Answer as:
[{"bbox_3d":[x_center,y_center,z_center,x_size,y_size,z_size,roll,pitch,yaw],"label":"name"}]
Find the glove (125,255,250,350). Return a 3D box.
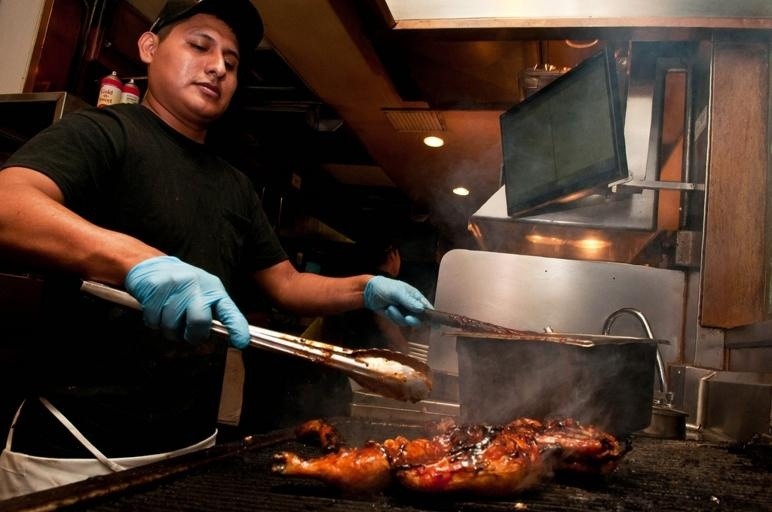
[{"bbox_3d":[-1.055,0.248,3.259,0.639,0.470,0.283,-1,6,-13],"label":"glove"}]

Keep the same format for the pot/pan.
[{"bbox_3d":[0.948,0.755,3.631,0.925,0.429,0.714,-5,-20,24],"label":"pot/pan"}]

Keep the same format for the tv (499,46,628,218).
[{"bbox_3d":[1.281,-0.855,4.553,0.149,1.146,1.097,-3,7,-31],"label":"tv"}]
